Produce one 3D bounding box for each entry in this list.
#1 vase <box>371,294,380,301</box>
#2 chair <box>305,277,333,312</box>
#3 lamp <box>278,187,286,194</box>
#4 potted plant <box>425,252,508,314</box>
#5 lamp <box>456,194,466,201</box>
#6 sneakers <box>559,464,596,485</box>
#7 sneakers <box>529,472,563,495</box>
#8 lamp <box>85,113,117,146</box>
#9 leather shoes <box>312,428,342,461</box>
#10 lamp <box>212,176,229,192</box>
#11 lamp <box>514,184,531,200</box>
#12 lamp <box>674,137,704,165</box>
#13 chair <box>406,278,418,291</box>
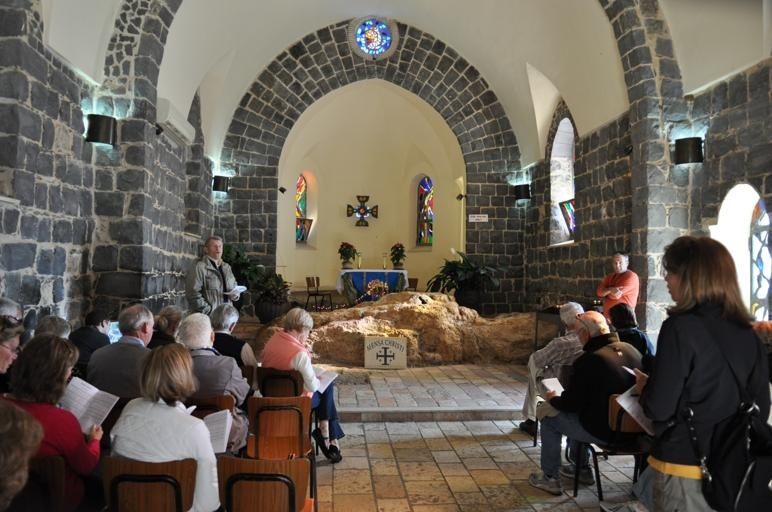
[{"bbox_3d":[-0.213,0.884,11.753,0.121,0.130,0.129,0,1,-12],"label":"vase"},{"bbox_3d":[-1.602,0.930,12.862,0.570,0.838,0.525,7,9,39],"label":"chair"},{"bbox_3d":[-2.335,-1.470,12.108,0.040,0.142,0.150,16,14,39],"label":"lamp"},{"bbox_3d":[1.564,0.494,11.031,1.242,0.969,1.329,4,-9,-13],"label":"potted plant"},{"bbox_3d":[1.621,-1.278,11.785,0.176,0.103,0.131,-4,22,-20],"label":"lamp"},{"bbox_3d":[1.554,1.761,4.486,0.128,0.143,0.324,1,2,-22],"label":"sneakers"},{"bbox_3d":[1.263,1.764,4.321,0.117,0.127,0.268,3,5,-36],"label":"sneakers"},{"bbox_3d":[-3.388,-1.498,6.470,0.304,0.331,0.310,8,6,12],"label":"lamp"},{"bbox_3d":[-0.505,1.646,4.765,0.108,0.327,0.189,-32,-6,10],"label":"leather shoes"},{"bbox_3d":[-3.210,-1.410,10.592,0.302,0.294,0.259,1,4,-39],"label":"lamp"},{"bbox_3d":[2.799,-1.324,11.234,0.374,0.310,0.240,3,6,21],"label":"lamp"},{"bbox_3d":[3.885,-1.341,7.068,0.302,0.334,0.322,3,-4,-38],"label":"lamp"},{"bbox_3d":[0.649,0.678,13.251,0.272,0.495,0.282,1,-7,5],"label":"chair"}]
